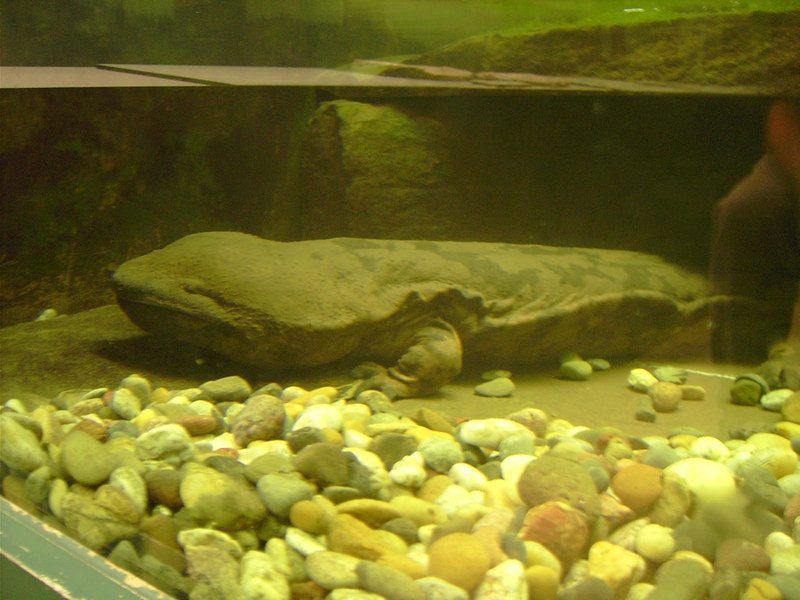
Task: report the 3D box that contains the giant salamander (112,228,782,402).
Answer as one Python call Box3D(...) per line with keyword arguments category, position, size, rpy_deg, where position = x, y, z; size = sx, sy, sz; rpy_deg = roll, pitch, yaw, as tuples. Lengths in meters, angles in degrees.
Box3D(category="giant salamander", position=(0.035, 0.009, 1.552), size=(1.459, 0.251, 0.437), rpy_deg=(1, 2, 0))
